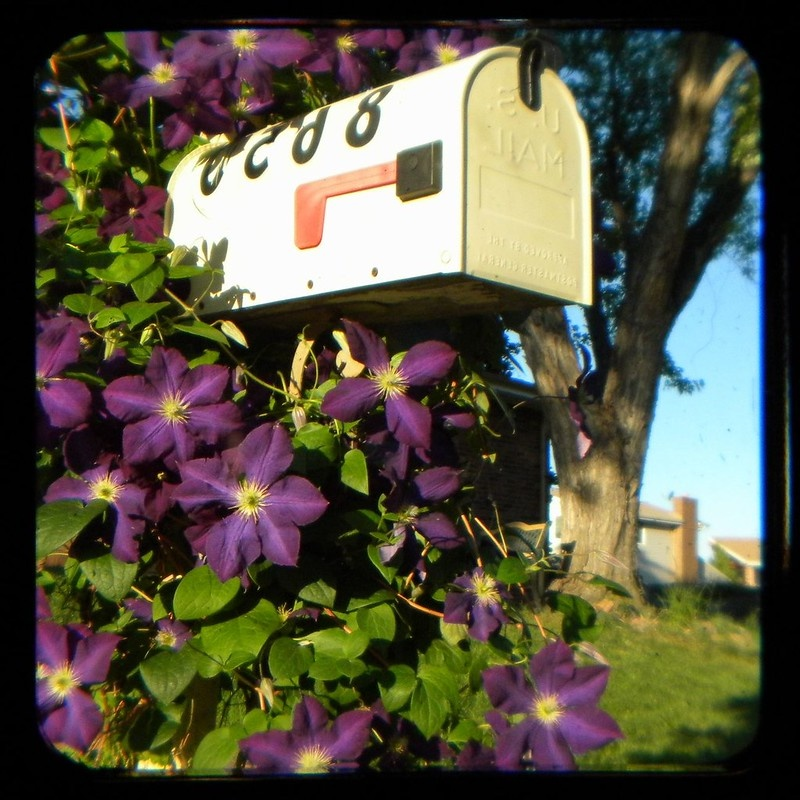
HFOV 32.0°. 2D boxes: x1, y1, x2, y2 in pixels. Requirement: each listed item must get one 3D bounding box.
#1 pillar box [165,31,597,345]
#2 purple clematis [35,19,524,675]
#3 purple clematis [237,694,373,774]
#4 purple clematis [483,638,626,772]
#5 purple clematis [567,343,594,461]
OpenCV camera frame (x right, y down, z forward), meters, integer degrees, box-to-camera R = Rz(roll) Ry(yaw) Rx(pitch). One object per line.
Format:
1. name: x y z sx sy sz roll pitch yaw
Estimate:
1. pillar box: -0.039 -0.267 1.808 0.497 0.352 0.292 -8 -13 38
2. purple clematis: -0.145 -0.053 1.679 0.641 0.884 0.484 -5 -8 38
3. purple clematis: -0.105 0.377 1.559 0.141 0.085 0.052 7 5 -3
4. purple clematis: 0.167 0.346 1.626 0.161 0.132 0.136 0 0 -20
5. purple clematis: 0.267 0.012 2.033 0.040 0.186 0.037 -20 29 -22
